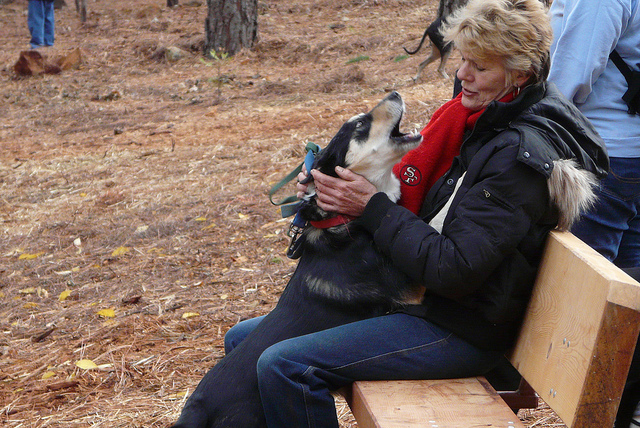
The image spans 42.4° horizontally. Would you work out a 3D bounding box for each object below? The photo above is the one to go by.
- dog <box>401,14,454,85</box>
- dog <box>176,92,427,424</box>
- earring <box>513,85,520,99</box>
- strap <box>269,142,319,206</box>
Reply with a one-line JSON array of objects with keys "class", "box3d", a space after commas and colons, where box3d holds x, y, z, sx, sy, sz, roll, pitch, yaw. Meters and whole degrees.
[{"class": "dog", "box3d": [1.800, -2.537, 13.008, 0.439, 0.965, 1.634, -9, 7, 32]}, {"class": "dog", "box3d": [-0.202, 0.444, 7.359, 3.107, 1.758, 0.956, -47, 28, 1]}, {"class": "earring", "box3d": [1.504, -0.938, 6.334, 0.069, 0.116, 0.020, 3, 2, -5]}, {"class": "strap", "box3d": [-0.227, -0.319, 6.914, 0.606, 0.149, 0.347, -40, -3, 2]}]
